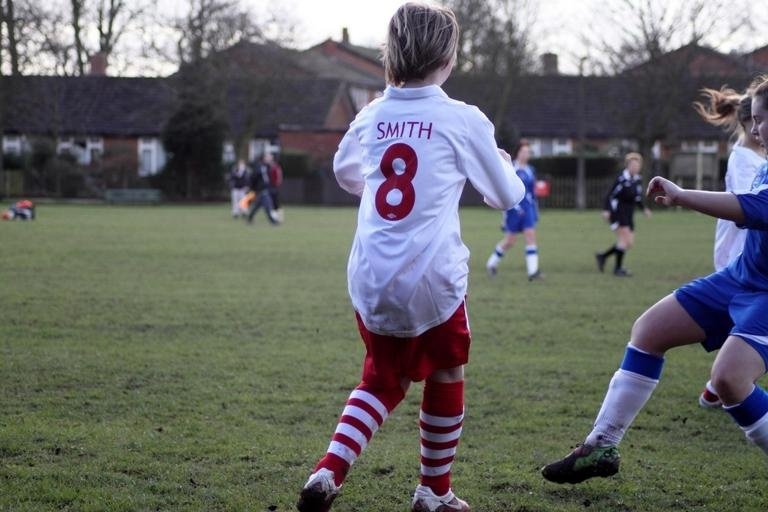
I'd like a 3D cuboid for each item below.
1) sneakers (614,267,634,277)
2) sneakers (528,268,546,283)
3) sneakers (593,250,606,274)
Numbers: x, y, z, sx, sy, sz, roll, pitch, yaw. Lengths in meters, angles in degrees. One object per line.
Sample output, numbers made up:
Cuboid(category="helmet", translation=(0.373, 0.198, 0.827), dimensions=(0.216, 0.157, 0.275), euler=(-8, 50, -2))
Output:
Cuboid(category="sneakers", translation=(3.415, 0.228, 15.199), dimensions=(0.276, 0.125, 0.096), euler=(1, 16, -4))
Cuboid(category="sneakers", translation=(2.081, 0.265, 14.673), dimensions=(0.165, 0.162, 0.363), euler=(-2, 0, -5))
Cuboid(category="sneakers", translation=(3.171, 0.072, 15.646), dimensions=(0.157, 0.390, 0.129), euler=(0, 4, 10))
